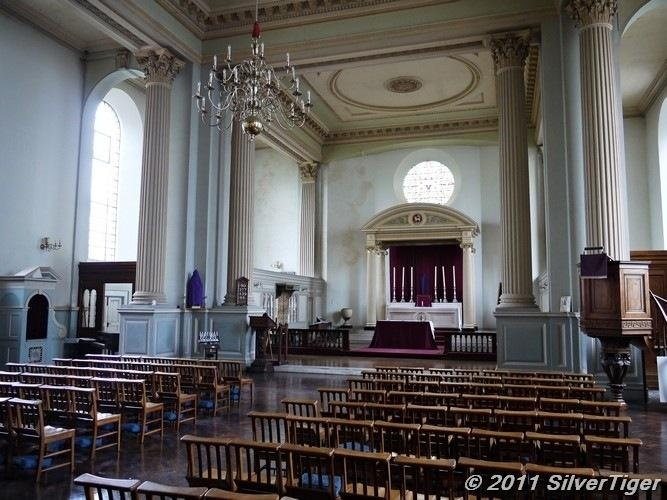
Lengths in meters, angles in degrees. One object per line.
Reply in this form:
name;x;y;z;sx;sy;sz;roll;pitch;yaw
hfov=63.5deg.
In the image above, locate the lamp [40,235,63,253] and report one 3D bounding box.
lamp;-7.005;-0.139;13.306;0.137;0.375;0.624;-1;-5;17
